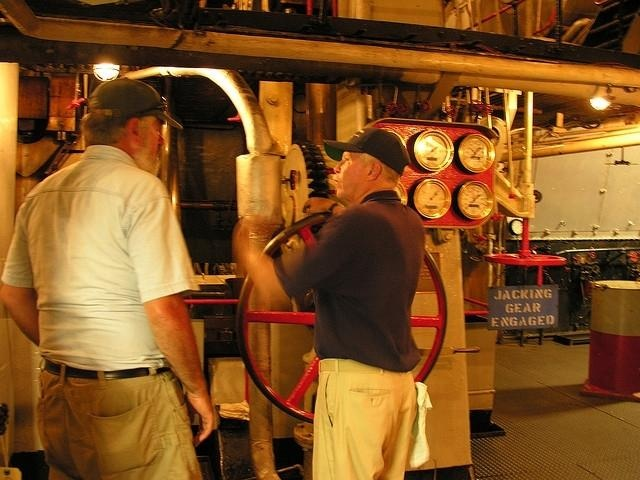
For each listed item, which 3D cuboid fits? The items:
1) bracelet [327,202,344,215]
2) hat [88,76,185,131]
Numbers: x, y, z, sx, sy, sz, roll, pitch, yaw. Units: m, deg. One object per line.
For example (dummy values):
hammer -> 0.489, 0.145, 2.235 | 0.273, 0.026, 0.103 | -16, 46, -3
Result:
bracelet -> 0.100, -0.209, 4.999 | 0.131, 0.068, 0.104 | 2, 10, 0
hat -> -1.038, -0.770, 4.393 | 0.441, 0.183, 0.285 | -5, 12, -22
